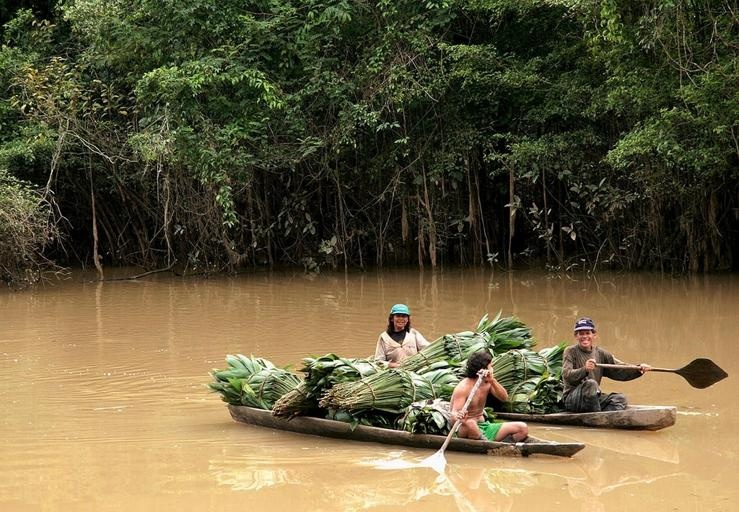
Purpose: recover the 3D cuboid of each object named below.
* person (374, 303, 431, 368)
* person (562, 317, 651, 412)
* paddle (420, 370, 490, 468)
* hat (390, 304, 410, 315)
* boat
[{"bbox_3d":[0.425,1.005,11.079,0.781,0.785,0.418,-1,1,-17],"label":"person"},{"bbox_3d":[2.759,1.266,10.116,1.031,1.110,0.841,-2,-4,22],"label":"person"},{"bbox_3d":[0.918,1.739,9.410,0.823,0.975,0.293,-1,-2,-39],"label":"paddle"},{"bbox_3d":[0.387,0.674,11.005,0.201,0.126,0.214,-4,-3,20],"label":"hat"},{"bbox_3d":[0.857,1.727,9.871,4.013,0.435,0.733,4,-10,8],"label":"boat"}]
